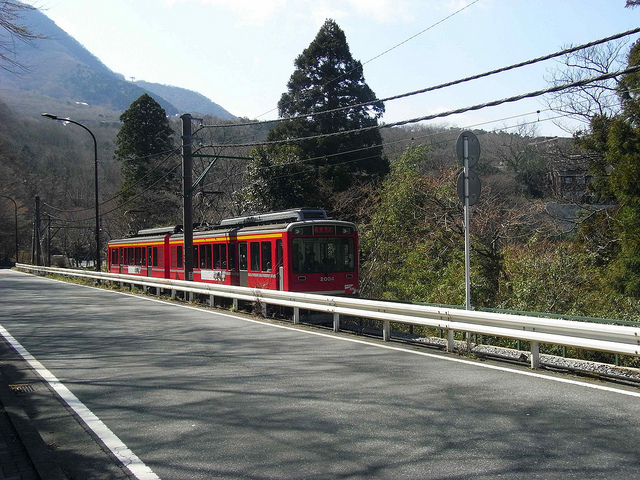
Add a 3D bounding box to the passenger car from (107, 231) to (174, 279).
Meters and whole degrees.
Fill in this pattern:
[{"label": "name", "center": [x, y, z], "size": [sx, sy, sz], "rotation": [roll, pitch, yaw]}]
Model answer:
[{"label": "passenger car", "center": [-9.390, 0.716, 32.560], "size": [0.567, 2.560, 10.109], "rotation": [-3, 4, -32]}]
